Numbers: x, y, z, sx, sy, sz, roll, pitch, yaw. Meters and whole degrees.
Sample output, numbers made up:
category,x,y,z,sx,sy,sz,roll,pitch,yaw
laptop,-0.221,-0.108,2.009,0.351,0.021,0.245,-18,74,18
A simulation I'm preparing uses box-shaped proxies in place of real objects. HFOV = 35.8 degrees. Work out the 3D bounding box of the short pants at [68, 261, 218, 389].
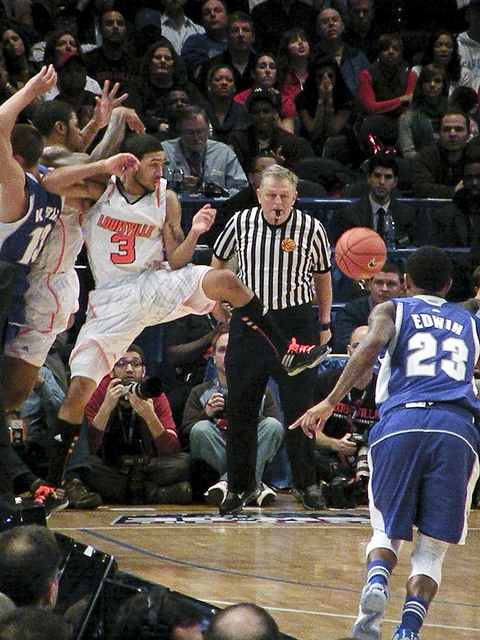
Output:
category,x,y,z,sx,sy,sz,roll,pitch,yaw
short pants,-0.515,-0.002,3.983,0.748,0.510,0.554,0,29,-2

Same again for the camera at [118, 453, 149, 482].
category,x,y,z,sx,sy,sz,roll,pitch,yaw
camera,-0.687,0.959,4.833,0.184,0.155,0.056,-1,-6,18

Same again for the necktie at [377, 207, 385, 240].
category,x,y,z,sx,sy,sz,roll,pitch,yaw
necktie,1.294,-0.901,6.707,0.055,0.207,0.165,0,-2,36

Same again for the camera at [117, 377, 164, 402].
category,x,y,z,sx,sy,sz,roll,pitch,yaw
camera,-0.617,0.420,4.554,0.128,0.186,0.464,30,-17,-18

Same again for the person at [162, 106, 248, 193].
category,x,y,z,sx,sy,sz,roll,pitch,yaw
person,-0.450,-1.546,6.980,1.159,0.797,0.603,-4,24,-15

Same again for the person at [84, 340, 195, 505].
category,x,y,z,sx,sy,sz,roll,pitch,yaw
person,-0.764,0.708,4.977,0.831,1.053,0.751,1,4,-44

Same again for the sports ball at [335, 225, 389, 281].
category,x,y,z,sx,sy,sz,roll,pitch,yaw
sports ball,0.886,-0.523,5.613,0.395,0.415,0.387,15,4,-1
